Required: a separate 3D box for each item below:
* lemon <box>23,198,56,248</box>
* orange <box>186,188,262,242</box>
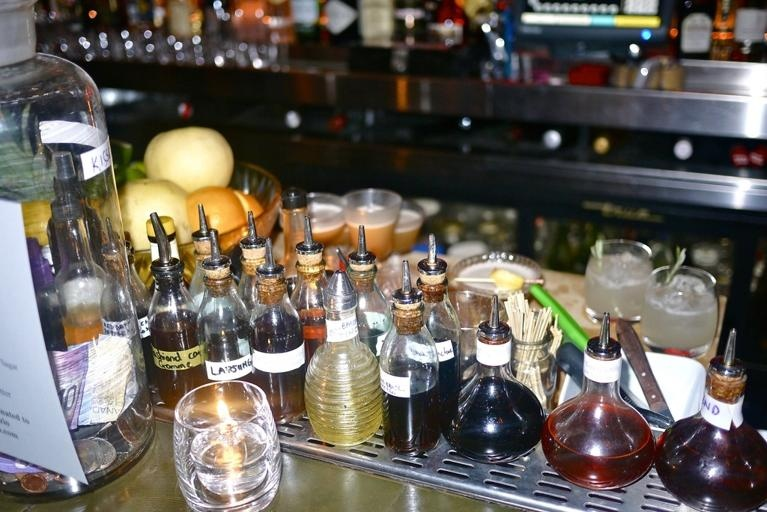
[{"bbox_3d":[-0.455,-0.040,0.806,0.027,0.064,0.041,2,20,15],"label":"lemon"},{"bbox_3d":[-0.279,-0.095,1.108,0.109,0.070,0.124,-9,18,-32],"label":"orange"}]
